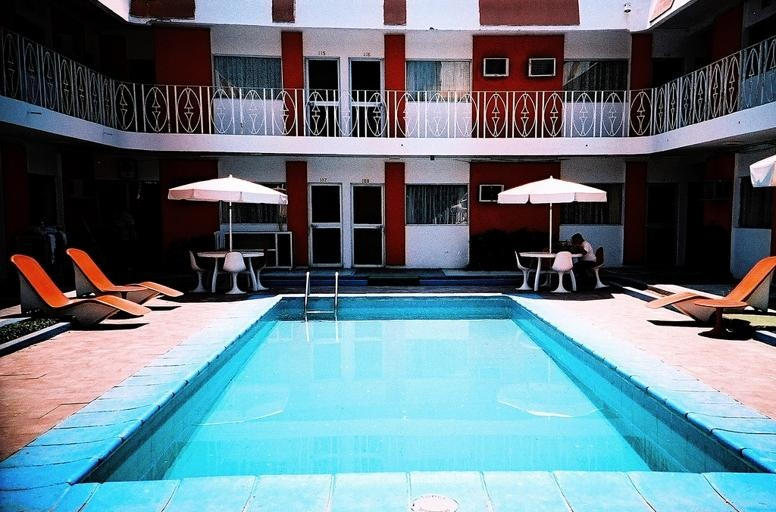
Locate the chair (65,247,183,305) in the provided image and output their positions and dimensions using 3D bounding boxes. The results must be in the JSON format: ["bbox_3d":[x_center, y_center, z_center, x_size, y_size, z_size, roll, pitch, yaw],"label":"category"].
[{"bbox_3d":[-5.332,0.406,11.334,2.835,1.228,0.943,3,3,-6],"label":"chair"}]

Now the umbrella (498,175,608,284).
[{"bbox_3d":[3.703,-0.621,13.047,2.520,2.658,2.513,1,-3,-18],"label":"umbrella"}]

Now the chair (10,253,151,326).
[{"bbox_3d":[-5.287,0.634,10.012,2.126,0.974,0.692,7,6,-7],"label":"chair"}]

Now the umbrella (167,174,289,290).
[{"bbox_3d":[-3.712,-0.469,12.999,2.165,2.570,2.740,-4,5,-32],"label":"umbrella"}]

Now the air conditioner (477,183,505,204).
[{"bbox_3d":[2.743,-1.674,15.462,0.898,0.741,0.317,0,1,-3],"label":"air conditioner"}]

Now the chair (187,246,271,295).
[{"bbox_3d":[-3.697,0.328,13.082,1.410,0.727,1.083,-1,-1,7],"label":"chair"}]
